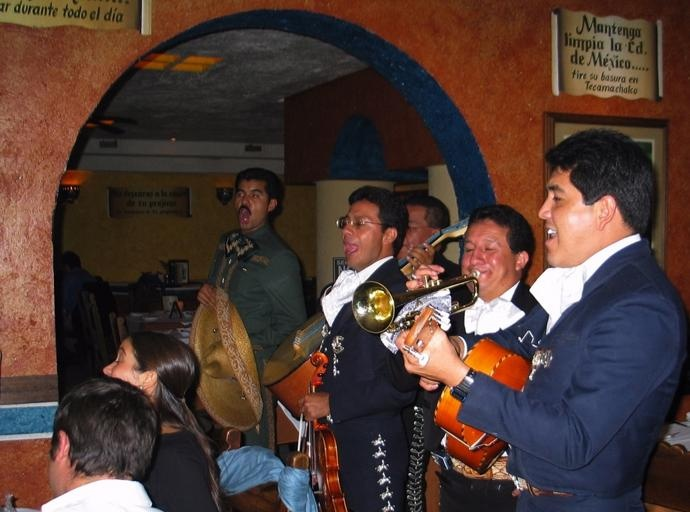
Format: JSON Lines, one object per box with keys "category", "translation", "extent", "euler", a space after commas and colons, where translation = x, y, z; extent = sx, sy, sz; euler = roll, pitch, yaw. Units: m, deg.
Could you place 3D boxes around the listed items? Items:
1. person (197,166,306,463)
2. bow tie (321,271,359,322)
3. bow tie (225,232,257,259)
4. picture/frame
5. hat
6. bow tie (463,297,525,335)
{"category": "person", "translation": [-0.575, 0.433, 3.912], "extent": [0.634, 1.881, 0.591], "euler": [1, 10, -38]}
{"category": "bow tie", "translation": [-0.029, 0.174, 2.896], "extent": [0.153, 0.258, 0.144], "euler": [-1, 11, -18]}
{"category": "bow tie", "translation": [-0.652, -0.063, 3.832], "extent": [0.067, 0.149, 0.245], "euler": [-6, 1, -42]}
{"category": "picture/frame", "translation": [1.583, -0.397, 3.941], "extent": [0.810, 0.988, 0.218], "euler": [3, 11, -22]}
{"category": "hat", "translation": [-0.658, 0.550, 3.520], "extent": [0.350, 0.777, 0.367], "euler": [1, 10, -34]}
{"category": "bow tie", "translation": [0.647, 0.277, 2.757], "extent": [0.061, 0.181, 0.178], "euler": [41, -25, -30]}
